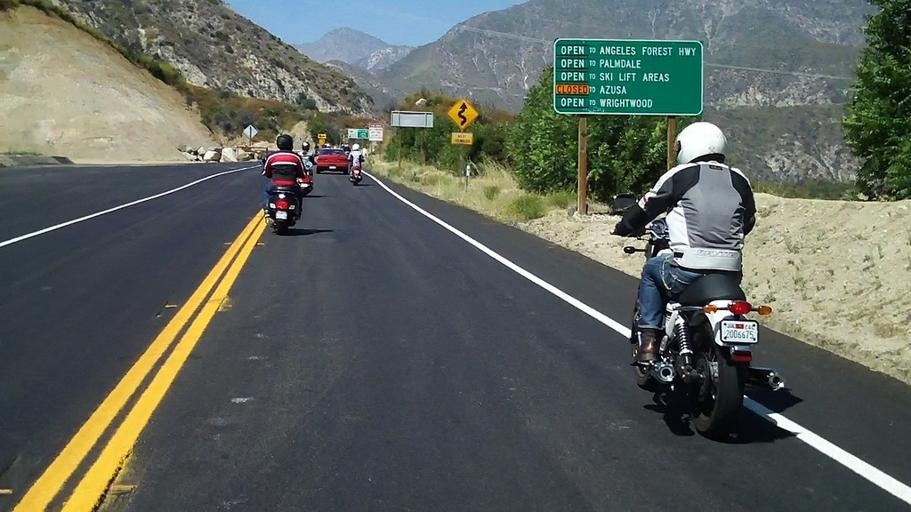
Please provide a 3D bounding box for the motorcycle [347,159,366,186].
[{"bbox_3d":[-5.422,-4.544,37.941,0.569,1.365,1.076,-2,11,-15],"label":"motorcycle"}]

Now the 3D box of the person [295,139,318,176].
[{"bbox_3d":[-5.502,-3.211,26.034,0.593,1.969,0.594,7,12,23],"label":"person"}]

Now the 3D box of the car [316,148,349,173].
[{"bbox_3d":[-8.701,-6.620,49.279,2.143,1.763,1.385,0,11,-8],"label":"car"}]

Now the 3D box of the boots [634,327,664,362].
[{"bbox_3d":[2.522,1.156,9.205,0.242,0.503,0.473,8,5,15],"label":"boots"}]

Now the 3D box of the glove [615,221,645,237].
[{"bbox_3d":[2.437,-0.368,9.768,0.328,0.147,0.203,-4,10,-26],"label":"glove"}]

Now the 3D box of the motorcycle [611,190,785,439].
[{"bbox_3d":[3.059,1.215,8.845,0.829,1.984,1.356,-6,13,-34],"label":"motorcycle"}]
